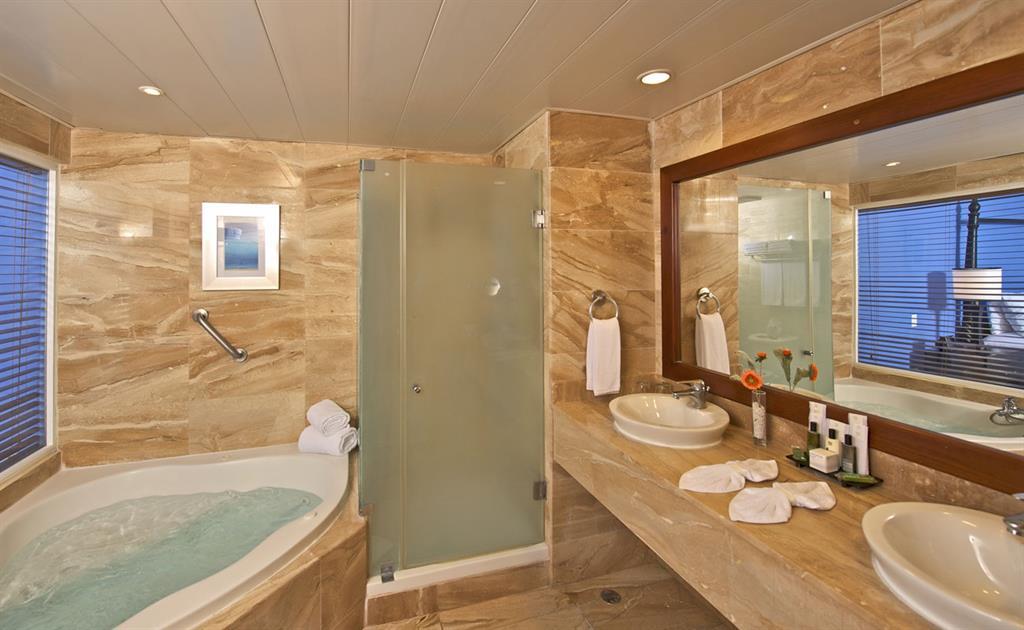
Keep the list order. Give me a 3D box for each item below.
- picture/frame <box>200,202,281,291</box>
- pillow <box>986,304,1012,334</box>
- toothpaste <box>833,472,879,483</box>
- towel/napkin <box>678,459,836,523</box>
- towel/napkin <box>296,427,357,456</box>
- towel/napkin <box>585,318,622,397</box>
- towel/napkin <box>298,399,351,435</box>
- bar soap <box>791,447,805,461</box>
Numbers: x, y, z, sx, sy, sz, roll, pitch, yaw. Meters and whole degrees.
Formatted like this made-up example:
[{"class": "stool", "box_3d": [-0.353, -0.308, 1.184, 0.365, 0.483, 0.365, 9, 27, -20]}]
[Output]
[{"class": "picture/frame", "box_3d": [-1.878, -0.472, 4.285, 0.722, 0.731, 0.039, -1, 0, -18]}, {"class": "pillow", "box_3d": [2.191, 0.016, 2.839, 0.037, 0.111, 0.132, -9, 4, -36]}, {"class": "toothpaste", "box_3d": [1.679, 0.800, 3.053, 0.220, 0.062, 0.054, -1, 4, 4]}, {"class": "towel/napkin", "box_3d": [1.196, 0.836, 2.997, 0.374, 0.045, 0.345, -7, 6, -19]}, {"class": "towel/napkin", "box_3d": [-1.224, 0.852, 4.230, 0.243, 0.095, 0.251, 5, -6, -43]}, {"class": "towel/napkin", "box_3d": [0.557, 0.260, 3.881, 0.218, 0.479, 0.104, -2, 4, 3]}, {"class": "towel/napkin", "box_3d": [-1.290, 0.683, 4.313, 0.220, 0.087, 0.265, -10, 15, -40]}, {"class": "bar soap", "box_3d": [1.455, 0.712, 3.215, 0.034, 0.052, 0.061, 14, -15, -31]}]
